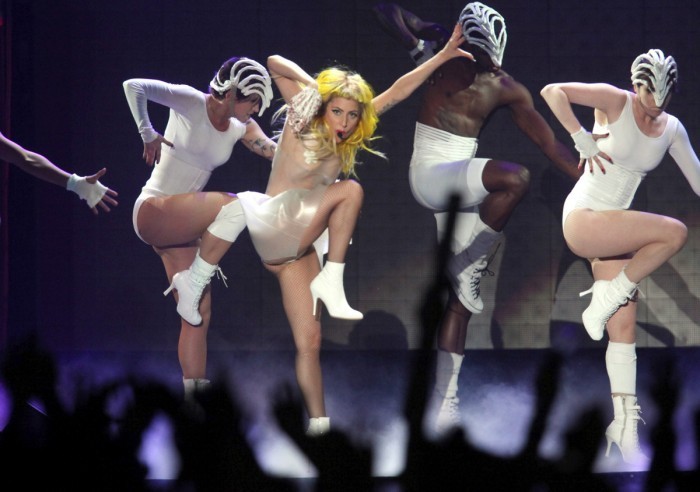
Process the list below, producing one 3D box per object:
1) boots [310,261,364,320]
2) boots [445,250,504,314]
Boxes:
[{"bbox_3d":[-0.011,0.220,3.922,0.375,0.347,0.162,1,-1,-5],"label":"boots"},{"bbox_3d":[0.681,0.226,4.394,0.109,0.228,0.337,8,17,-8],"label":"boots"}]
